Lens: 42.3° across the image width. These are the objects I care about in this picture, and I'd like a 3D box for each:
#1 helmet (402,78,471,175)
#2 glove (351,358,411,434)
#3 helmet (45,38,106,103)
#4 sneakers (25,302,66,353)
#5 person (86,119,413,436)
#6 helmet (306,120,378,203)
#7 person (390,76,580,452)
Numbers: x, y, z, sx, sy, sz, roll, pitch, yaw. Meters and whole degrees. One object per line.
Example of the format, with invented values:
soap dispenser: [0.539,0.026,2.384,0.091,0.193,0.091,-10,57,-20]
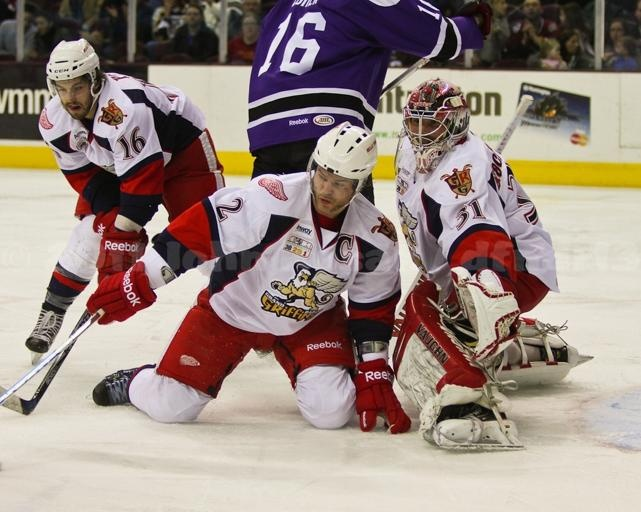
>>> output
helmet: [0.445,-0.529,3.288,0.279,0.299,0.327,6,17,25]
glove: [0.218,0.516,3.091,0.218,0.116,0.264,4,41,-12]
helmet: [-1.076,-0.813,3.591,0.218,0.277,0.203,1,12,-18]
sneakers: [-1.287,0.331,3.816,0.098,0.119,0.294,27,12,-18]
person: [-0.334,0.154,3.326,1.564,1.017,0.806,0,-11,31]
helmet: [0.075,-0.342,3.032,0.244,0.300,0.226,4,11,-2]
person: [0.569,-0.009,3.102,0.654,1.294,0.813,6,12,4]
